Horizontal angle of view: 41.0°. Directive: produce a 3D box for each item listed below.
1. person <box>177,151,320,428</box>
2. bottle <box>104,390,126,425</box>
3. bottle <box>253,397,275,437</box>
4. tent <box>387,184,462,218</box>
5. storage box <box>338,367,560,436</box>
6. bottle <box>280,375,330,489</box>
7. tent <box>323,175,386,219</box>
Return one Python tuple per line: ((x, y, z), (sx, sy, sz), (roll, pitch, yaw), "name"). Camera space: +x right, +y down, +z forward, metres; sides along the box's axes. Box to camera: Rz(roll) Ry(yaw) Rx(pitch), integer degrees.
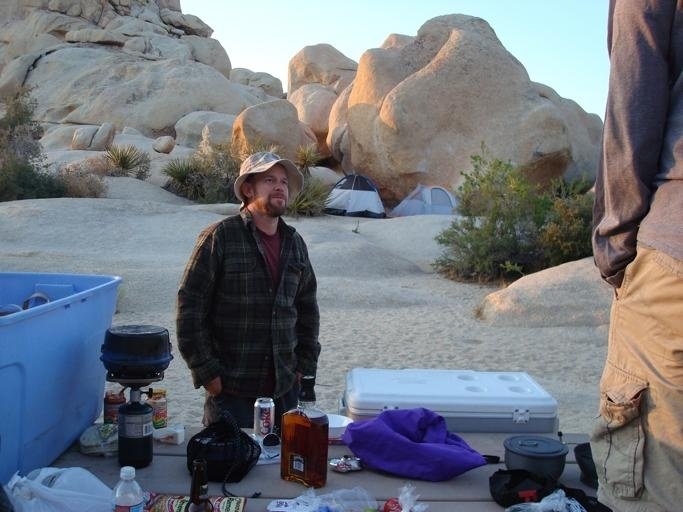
((-0.538, 0.203, 5.500), (0.936, 1.635, 0.647), (-4, 12, -25), "person")
((-1.275, 0.854, 5.139), (0.152, 0.162, 0.149), (6, -1, 8), "bottle")
((-0.429, 0.893, 5.046), (0.127, 0.207, 0.120), (1, 8, 0), "bottle")
((1.794, -1.415, 20.511), (1.125, 0.614, 1.501), (15, -5, -42), "tent")
((0.645, 0.806, 5.229), (0.805, 0.176, 0.520), (1, 3, -2), "storage box")
((-0.171, 0.879, 4.637), (0.233, 0.542, 0.312), (-7, 13, -37), "bottle")
((0.342, -1.285, 20.247), (1.102, 0.526, 1.094), (3, 0, 18), "tent")
